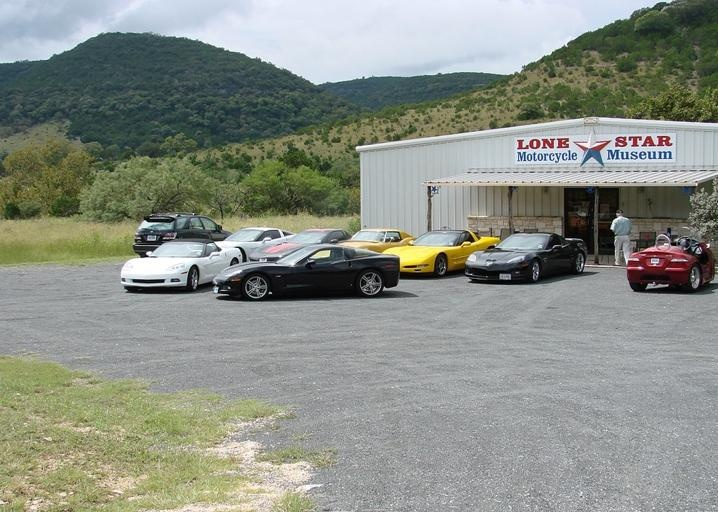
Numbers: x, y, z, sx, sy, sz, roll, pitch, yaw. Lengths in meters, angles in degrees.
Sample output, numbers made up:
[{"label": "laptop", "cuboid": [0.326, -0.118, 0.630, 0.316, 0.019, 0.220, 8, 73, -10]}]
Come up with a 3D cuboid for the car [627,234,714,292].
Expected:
[{"label": "car", "cuboid": [8.652, 0.203, 17.214, 2.430, 1.583, 1.344, -3, 1, -27]}]
